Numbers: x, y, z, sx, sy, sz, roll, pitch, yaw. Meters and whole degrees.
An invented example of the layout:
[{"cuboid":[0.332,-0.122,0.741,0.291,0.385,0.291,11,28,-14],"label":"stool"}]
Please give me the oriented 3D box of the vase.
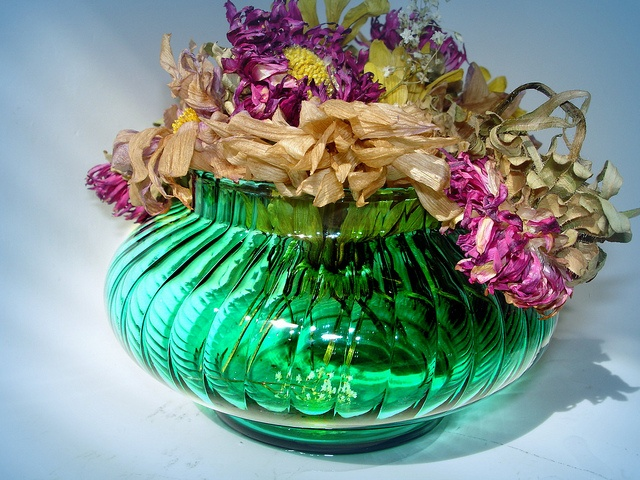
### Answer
[{"cuboid":[0.010,0.073,0.914,0.588,0.317,0.586,5,9,-11],"label":"vase"}]
